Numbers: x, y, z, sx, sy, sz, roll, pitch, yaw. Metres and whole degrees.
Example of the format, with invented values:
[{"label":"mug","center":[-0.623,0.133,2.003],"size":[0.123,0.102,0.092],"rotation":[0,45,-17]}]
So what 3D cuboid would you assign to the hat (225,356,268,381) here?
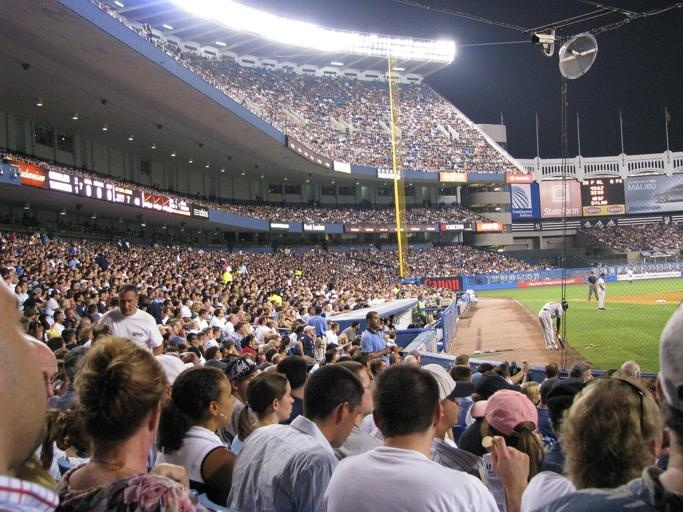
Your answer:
[{"label":"hat","center":[-1.528,1.710,11.002],"size":[0.404,0.217,0.295],"rotation":[-21,9,-14]}]

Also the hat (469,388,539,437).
[{"label":"hat","center":[2.034,1.954,9.276],"size":[0.529,0.490,0.827],"rotation":[0,15,-17]}]

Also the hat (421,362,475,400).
[{"label":"hat","center":[1.428,1.678,9.760],"size":[0.767,0.407,0.517],"rotation":[-12,11,-21]}]

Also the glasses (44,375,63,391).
[{"label":"glasses","center":[-4.344,1.956,11.078],"size":[0.184,0.189,0.251],"rotation":[-2,-2,-23]}]

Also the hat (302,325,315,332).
[{"label":"hat","center":[-0.861,1.835,18.174],"size":[0.222,0.148,0.354],"rotation":[-2,-2,-4]}]
